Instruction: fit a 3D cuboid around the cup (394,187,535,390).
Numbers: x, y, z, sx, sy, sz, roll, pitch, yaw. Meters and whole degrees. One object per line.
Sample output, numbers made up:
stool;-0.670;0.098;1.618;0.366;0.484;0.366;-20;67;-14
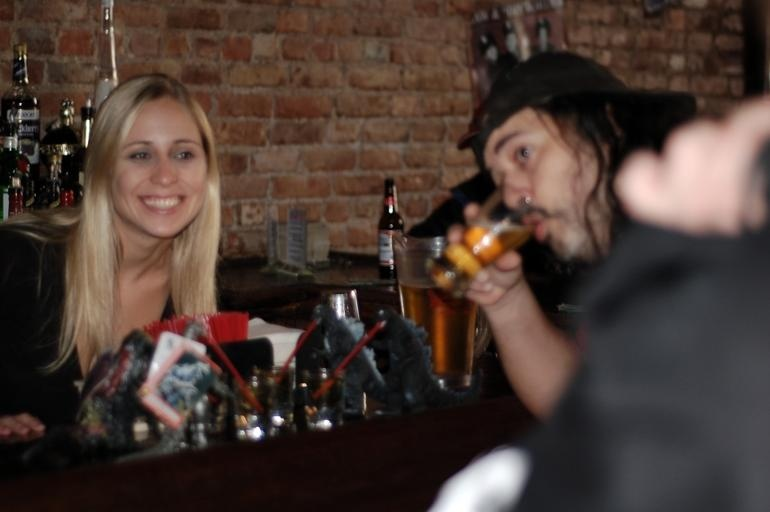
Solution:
cup;0.106;0.052;1.142;0.323;0.353;0.198;1;3;2

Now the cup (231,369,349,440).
cup;-0.132;0.202;0.975;0.102;0.082;0.151;5;8;29

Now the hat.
hat;0.407;-0.355;1.518;0.371;0.124;0.255;-8;-16;-3
